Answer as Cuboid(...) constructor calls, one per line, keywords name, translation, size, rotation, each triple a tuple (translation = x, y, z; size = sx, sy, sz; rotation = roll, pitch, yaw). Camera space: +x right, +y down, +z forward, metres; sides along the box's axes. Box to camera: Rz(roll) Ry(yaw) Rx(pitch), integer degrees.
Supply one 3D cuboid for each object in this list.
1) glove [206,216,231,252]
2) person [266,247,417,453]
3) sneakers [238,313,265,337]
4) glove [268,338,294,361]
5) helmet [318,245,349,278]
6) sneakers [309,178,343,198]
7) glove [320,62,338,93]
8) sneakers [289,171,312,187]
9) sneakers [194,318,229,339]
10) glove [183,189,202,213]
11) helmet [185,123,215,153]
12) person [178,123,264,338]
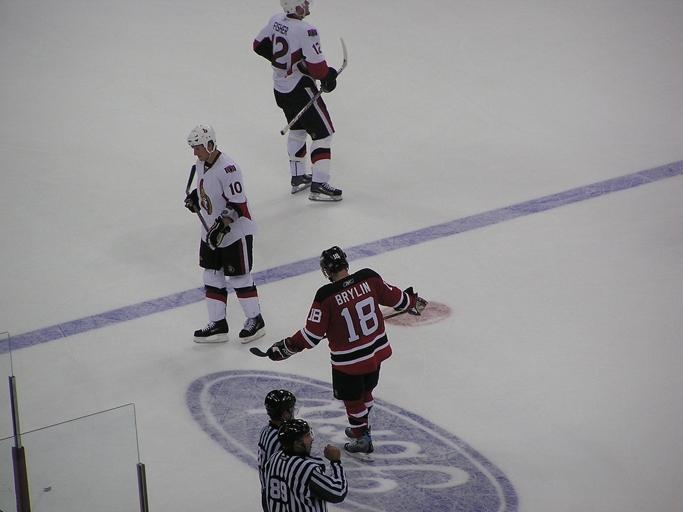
Cuboid(name="glove", translation=(-0.825, -0.165, 5.728), size=(0.140, 0.227, 0.088), rotation=(44, -4, -37))
Cuboid(name="person", translation=(0.047, 0.566, 5.069), size=(1.043, 1.282, 0.441), rotation=(-11, 18, -18))
Cuboid(name="sneakers", translation=(-0.624, 0.489, 5.935), size=(0.084, 0.159, 0.256), rotation=(8, 15, 33))
Cuboid(name="glove", translation=(-0.358, 0.559, 4.903), size=(0.136, 0.057, 0.136), rotation=(-27, 30, -1))
Cuboid(name="helmet", translation=(-0.040, 0.036, 4.950), size=(0.159, 0.198, 0.190), rotation=(-17, 8, -13))
Cuboid(name="sneakers", translation=(-0.130, -0.579, 7.192), size=(0.256, 0.177, 0.118), rotation=(-1, 27, -1))
Cuboid(name="glove", translation=(-0.095, -1.482, 6.925), size=(0.162, 0.207, 0.127), rotation=(-4, 0, -22))
Cuboid(name="sneakers", translation=(-0.345, -0.694, 7.432), size=(0.225, 0.098, 0.080), rotation=(-23, 31, -38))
Cuboid(name="sneakers", translation=(-0.902, 0.522, 5.950), size=(0.254, 0.178, 0.111), rotation=(3, 2, -2))
Cuboid(name="glove", translation=(-1.042, -0.394, 5.900), size=(0.067, 0.151, 0.110), rotation=(-10, -39, 10))
Cuboid(name="helmet", translation=(-0.943, -0.812, 5.667), size=(0.164, 0.171, 0.160), rotation=(-4, 0, -7))
Cuboid(name="person", translation=(-0.808, -0.138, 5.791), size=(0.495, 1.465, 0.371), rotation=(-4, 0, -11))
